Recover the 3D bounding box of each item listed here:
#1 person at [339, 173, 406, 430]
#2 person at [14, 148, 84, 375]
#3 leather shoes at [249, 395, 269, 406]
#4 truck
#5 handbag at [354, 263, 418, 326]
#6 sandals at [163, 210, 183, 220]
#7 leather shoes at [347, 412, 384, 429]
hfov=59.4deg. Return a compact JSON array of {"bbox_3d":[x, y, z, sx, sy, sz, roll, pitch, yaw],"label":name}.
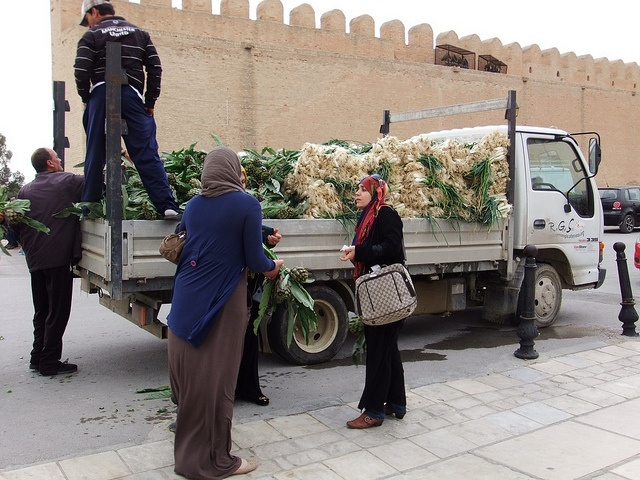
[{"bbox_3d":[0.519,0.563,5.570,0.598,2.409,0.763,0,-9,-4],"label":"person"},{"bbox_3d":[-3.172,0.256,6.636,0.677,2.690,0.918,-7,10,-42],"label":"person"},{"bbox_3d":[-0.627,1.679,5.901,0.164,0.062,0.092,0,4,24],"label":"leather shoes"},{"bbox_3d":[0.630,-0.257,8.631,7.480,3.638,3.196,-3,1,-26],"label":"truck"},{"bbox_3d":[0.593,0.508,5.310,0.612,0.642,0.337,-13,-18,6],"label":"handbag"},{"bbox_3d":[-1.542,-0.263,5.860,0.089,0.103,0.235,-3,3,15],"label":"sandals"},{"bbox_3d":[0.425,1.727,5.384,0.352,0.157,0.140,5,-9,-16],"label":"leather shoes"}]
